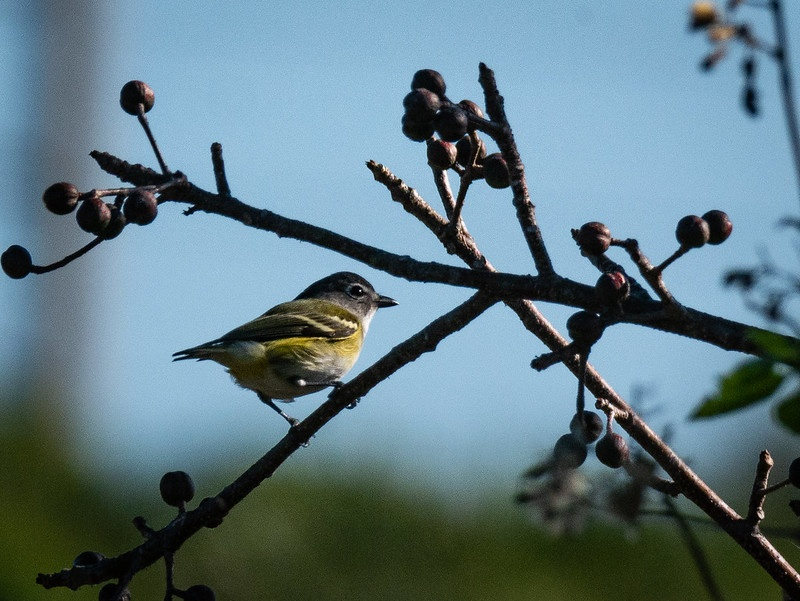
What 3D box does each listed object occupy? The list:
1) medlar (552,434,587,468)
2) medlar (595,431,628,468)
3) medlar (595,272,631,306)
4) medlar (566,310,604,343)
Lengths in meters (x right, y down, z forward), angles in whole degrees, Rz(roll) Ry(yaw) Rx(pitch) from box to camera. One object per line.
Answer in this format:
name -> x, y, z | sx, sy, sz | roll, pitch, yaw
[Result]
medlar -> 0.628, 0.552, 4.218 | 0.130, 0.144, 0.091 | 24, -79, -2
medlar -> 0.776, 0.547, 4.178 | 0.124, 0.116, 0.114 | -1, -80, 3
medlar -> 0.817, -0.052, 4.377 | 0.150, 0.187, 0.117 | 10, -79, 1
medlar -> 0.698, 0.096, 4.326 | 0.124, 0.110, 0.111 | -4, -80, 3
